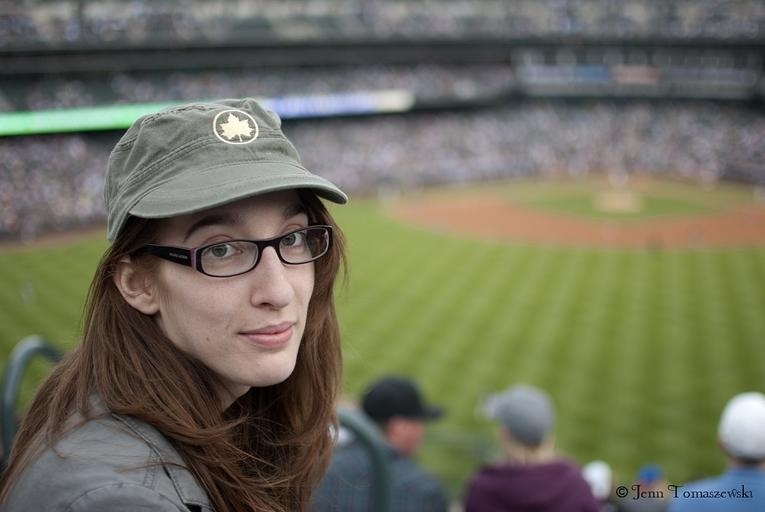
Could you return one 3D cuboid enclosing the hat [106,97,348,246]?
[{"bbox_3d":[-0.601,-0.308,2.551,0.614,0.309,0.485,-5,-1,32],"label":"hat"}]
